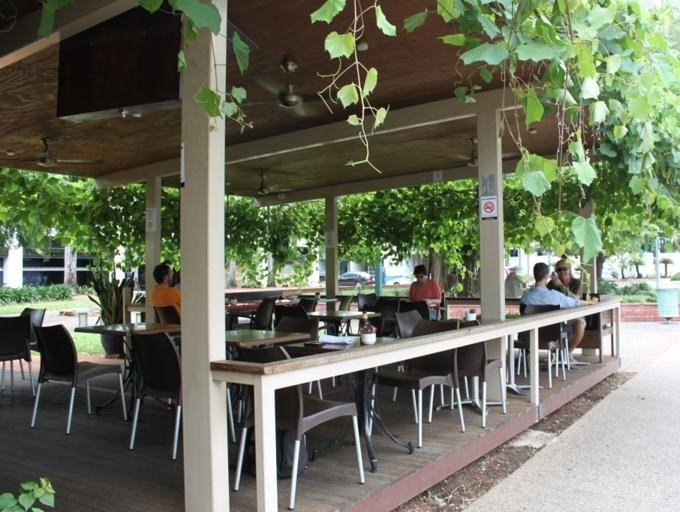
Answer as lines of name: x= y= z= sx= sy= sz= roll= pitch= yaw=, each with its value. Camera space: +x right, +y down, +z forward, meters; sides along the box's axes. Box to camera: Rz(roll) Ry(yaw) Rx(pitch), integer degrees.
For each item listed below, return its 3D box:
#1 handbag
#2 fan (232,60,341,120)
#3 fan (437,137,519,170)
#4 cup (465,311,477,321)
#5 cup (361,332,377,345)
handbag: x=-0.492 y=1.443 z=4.363 sx=0.409 sy=0.472 sz=0.345 roll=1 pitch=-1 yaw=-5
fan: x=-0.512 y=-1.601 z=5.417 sx=0.815 sy=0.434 sz=0.952 roll=-1 pitch=-15 yaw=4
fan: x=1.732 y=-1.527 z=8.229 sx=0.804 sy=0.221 sz=0.817 roll=4 pitch=-4 yaw=-28
cup: x=1.333 y=0.606 z=5.806 sx=0.086 sy=0.066 sz=0.090 roll=0 pitch=-2 yaw=0
cup: x=0.230 y=0.655 z=4.526 sx=0.087 sy=0.064 sz=0.090 roll=0 pitch=-2 yaw=0
